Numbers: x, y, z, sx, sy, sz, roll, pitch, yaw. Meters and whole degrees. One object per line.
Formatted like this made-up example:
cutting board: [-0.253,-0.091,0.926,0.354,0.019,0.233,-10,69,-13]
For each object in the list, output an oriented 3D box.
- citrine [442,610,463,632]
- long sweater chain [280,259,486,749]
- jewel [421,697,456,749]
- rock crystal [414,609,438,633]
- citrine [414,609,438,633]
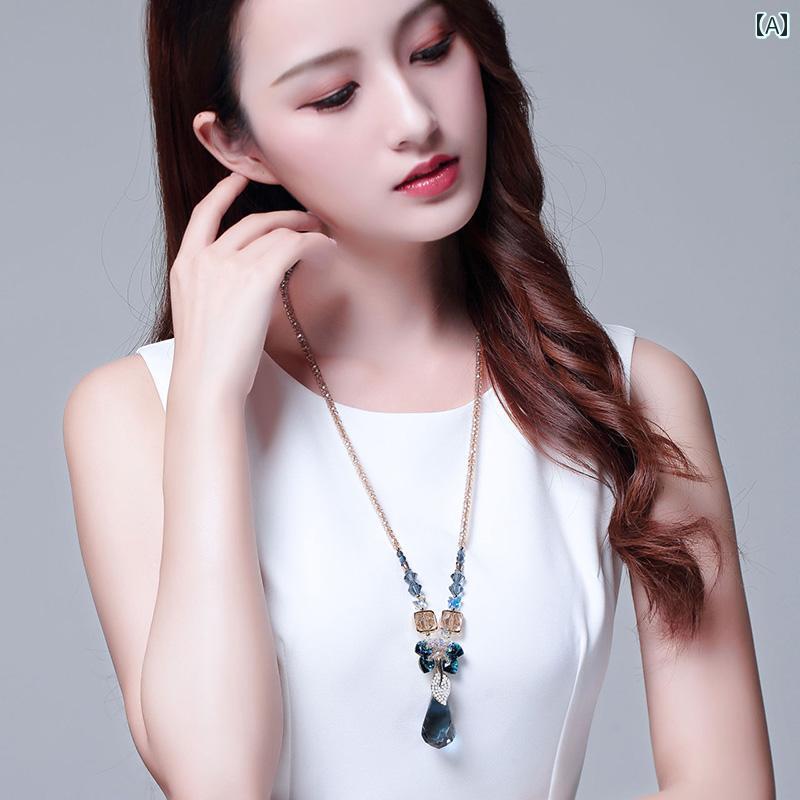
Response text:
citrine: [0.078,0.339,1.521,0.033,0.032,0.009,2,-5,5]
long sweater chain: [-0.010,0.149,1.662,0.346,0.822,0.239,-6,-10,2]
jewel: [0.060,0.486,1.506,0.054,0.071,0.037,-2,-11,-21]
rock crystal: [0.038,0.340,1.520,0.033,0.033,0.009,0,-3,1]
citrine: [0.038,0.340,1.520,0.033,0.033,0.009,0,-3,1]
